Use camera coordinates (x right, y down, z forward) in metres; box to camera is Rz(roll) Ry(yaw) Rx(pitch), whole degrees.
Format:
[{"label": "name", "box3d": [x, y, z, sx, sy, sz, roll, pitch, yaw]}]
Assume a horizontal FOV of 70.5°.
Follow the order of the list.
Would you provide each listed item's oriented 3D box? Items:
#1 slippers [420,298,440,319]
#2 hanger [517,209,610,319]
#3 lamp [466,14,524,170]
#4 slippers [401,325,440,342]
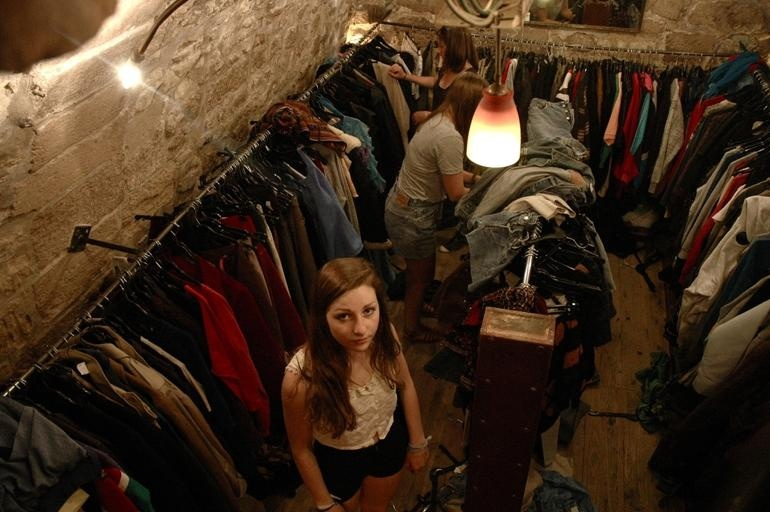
[{"label": "slippers", "box3d": [0.316, 0.404, 4.243, 0.223, 0.090, 0.075, 0, 58, 11]}, {"label": "hanger", "box3d": [0.865, 0.017, 2.738, 0.532, 0.472, 0.253, 19, 26, 22]}, {"label": "lamp", "box3d": [0.463, -0.667, 2.396, 0.225, 0.575, 0.394, 6, 16, 23]}, {"label": "slippers", "box3d": [0.270, 0.583, 4.122, 0.287, 0.128, 0.116, -1, 31, 4]}]
